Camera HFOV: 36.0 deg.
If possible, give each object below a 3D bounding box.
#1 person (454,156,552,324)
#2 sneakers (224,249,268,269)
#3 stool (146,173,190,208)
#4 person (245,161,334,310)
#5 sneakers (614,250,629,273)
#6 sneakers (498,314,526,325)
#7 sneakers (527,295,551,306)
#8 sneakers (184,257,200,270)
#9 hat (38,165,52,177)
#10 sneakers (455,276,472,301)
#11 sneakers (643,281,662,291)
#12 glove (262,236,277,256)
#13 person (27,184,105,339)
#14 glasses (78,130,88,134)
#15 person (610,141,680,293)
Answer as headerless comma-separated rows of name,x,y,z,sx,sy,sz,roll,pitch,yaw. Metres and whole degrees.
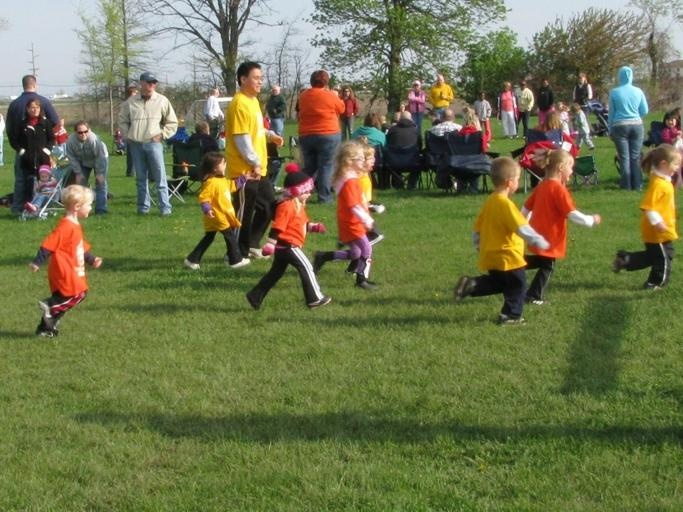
person,1.545,-0.153,10.035,0.384,1.557,0.890,-5,9,-40
sneakers,-1.117,-0.002,12.437,0.612,0.244,0.211,-5,11,-11
stool,-2.843,-0.925,17.158,0.510,0.356,0.853,-1,8,8
person,-0.519,-0.190,10.692,0.842,1.442,0.637,1,7,-1
sneakers,2.893,0.051,10.933,0.135,0.223,0.086,18,4,38
sneakers,1.607,0.612,9.989,0.263,0.120,0.098,-3,7,-4
sneakers,1.993,0.450,10.586,0.238,0.104,0.081,6,1,-4
sneakers,-1.739,0.087,12.218,0.196,0.085,0.104,14,19,6
hat,-4.382,-1.252,15.513,0.140,0.135,0.171,-1,-4,-12
sneakers,1.189,0.313,10.338,0.119,0.269,0.115,29,3,-3
sneakers,3.198,0.323,10.820,0.184,0.081,0.068,0,4,25
glove,-0.700,-0.091,10.700,0.095,0.200,0.282,12,-7,-9
person,-2.597,0.053,9.954,0.598,1.426,0.770,-1,7,-14
glasses,-3.718,-1.770,15.068,0.151,0.070,0.160,-1,8,-17
person,3.169,-0.408,10.840,0.578,1.474,0.458,3,7,15
